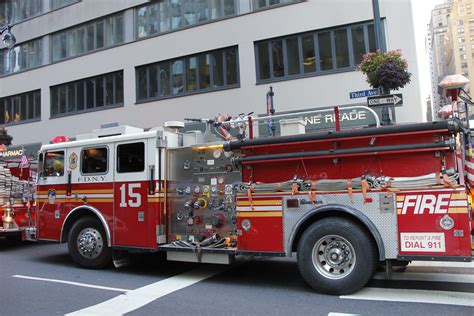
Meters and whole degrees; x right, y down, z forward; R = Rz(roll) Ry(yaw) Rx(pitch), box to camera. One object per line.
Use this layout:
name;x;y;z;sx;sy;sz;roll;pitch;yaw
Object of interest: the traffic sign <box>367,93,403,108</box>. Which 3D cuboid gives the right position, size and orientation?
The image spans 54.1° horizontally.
traffic sign;4.381;-1.708;13.882;0.904;0.371;0.121;0;0;25
